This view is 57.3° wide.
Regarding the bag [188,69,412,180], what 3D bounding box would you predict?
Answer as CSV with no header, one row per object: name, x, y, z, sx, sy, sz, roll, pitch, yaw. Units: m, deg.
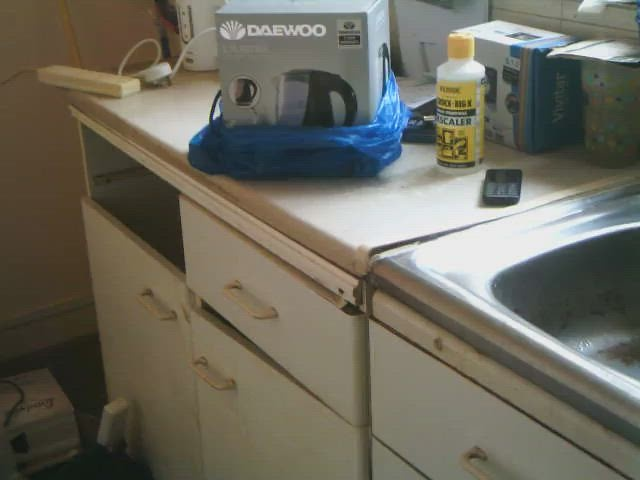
bag,-0.049,-0.188,1.074,0.279,0.104,0.212,4,34,6

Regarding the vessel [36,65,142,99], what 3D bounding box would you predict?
vessel,-0.655,-0.422,1.591,0.412,0.058,0.109,16,35,26
